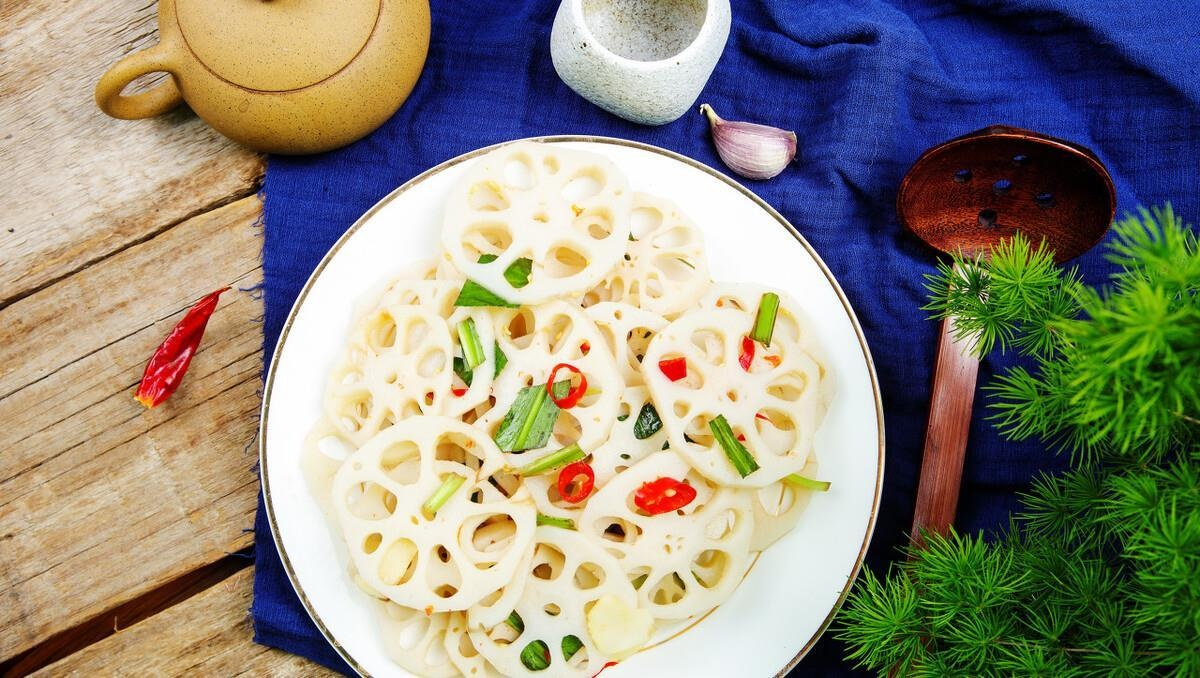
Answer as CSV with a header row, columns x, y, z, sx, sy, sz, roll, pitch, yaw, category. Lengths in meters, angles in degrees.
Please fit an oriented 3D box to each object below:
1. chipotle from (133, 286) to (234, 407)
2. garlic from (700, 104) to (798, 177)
x,y,z,sx,sy,sz,roll,pitch,yaw,category
-0.968,0.039,2.520,0.114,0.088,0.366,36,79,-5,chipotle
0.338,-0.443,2.575,0.227,0.103,0.137,40,85,0,garlic
